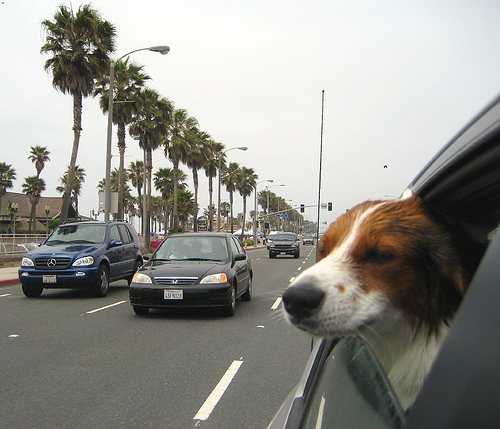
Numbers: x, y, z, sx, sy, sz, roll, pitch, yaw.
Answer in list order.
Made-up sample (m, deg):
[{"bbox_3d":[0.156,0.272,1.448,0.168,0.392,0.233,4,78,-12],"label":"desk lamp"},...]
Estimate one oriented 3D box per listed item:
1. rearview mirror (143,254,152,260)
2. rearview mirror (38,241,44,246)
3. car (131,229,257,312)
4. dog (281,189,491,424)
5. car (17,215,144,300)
[{"bbox_3d":[-2.365,0.985,9.777,0.185,0.086,0.531,16,-11,-13],"label":"rearview mirror"},{"bbox_3d":[-6.551,0.899,13.244,0.176,0.105,0.293,3,4,-15],"label":"rearview mirror"},{"bbox_3d":[-0.978,1.245,9.667,1.269,1.273,2.834,-1,-8,9],"label":"car"},{"bbox_3d":[0.347,0.223,1.068,0.322,0.585,0.630,-4,-9,36],"label":"dog"},{"bbox_3d":[-4.800,1.095,12.445,3.345,1.929,2.496,22,-14,-39],"label":"car"}]
